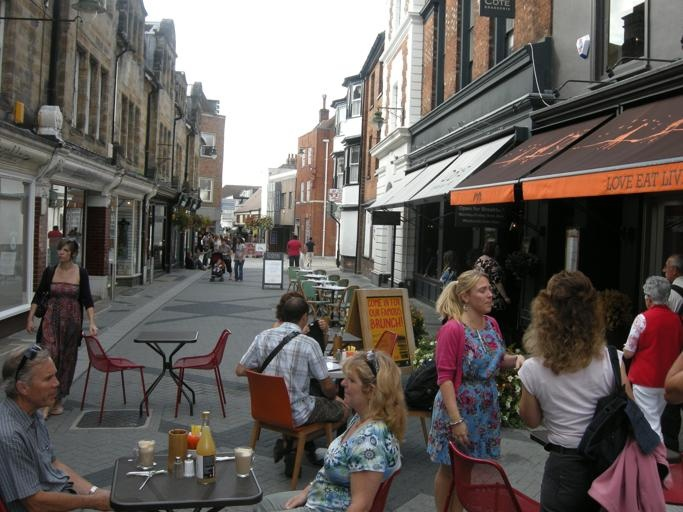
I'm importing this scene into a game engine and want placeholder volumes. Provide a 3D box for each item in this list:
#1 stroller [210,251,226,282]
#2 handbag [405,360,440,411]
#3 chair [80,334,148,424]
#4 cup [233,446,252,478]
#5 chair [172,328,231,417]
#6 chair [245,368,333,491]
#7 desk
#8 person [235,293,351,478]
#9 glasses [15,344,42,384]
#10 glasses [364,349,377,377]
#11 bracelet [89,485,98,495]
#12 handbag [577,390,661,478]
[{"bbox_3d":[-5.886,0.476,28.853,0.585,1.360,0.839,0,1,-12],"label":"stroller"},{"bbox_3d":[0.952,1.480,6.908,0.490,0.557,0.386,8,-12,-12],"label":"handbag"},{"bbox_3d":[-3.227,1.646,8.632,0.718,1.164,0.720,-4,6,-41],"label":"chair"},{"bbox_3d":[-0.804,1.606,4.838,0.143,0.201,0.187,0,-8,5],"label":"cup"},{"bbox_3d":[-2.063,1.677,8.938,0.762,1.251,0.772,3,1,-19],"label":"chair"},{"bbox_3d":[-0.602,1.743,6.722,0.823,1.133,0.855,-8,15,-26],"label":"chair"},{"bbox_3d":[-2.606,1.780,9.176,1.122,1.579,1.208,0,-2,-7],"label":"desk"},{"bbox_3d":[-0.533,1.417,6.757,1.140,2.056,0.844,4,2,-29],"label":"person"},{"bbox_3d":[-2.268,0.764,4.411,0.059,0.212,0.177,24,15,2],"label":"glasses"},{"bbox_3d":[0.218,0.767,4.460,0.048,0.145,0.103,-11,18,-11],"label":"glasses"},{"bbox_3d":[-1.911,1.787,4.731,0.042,0.023,0.060,3,45,1],"label":"bracelet"},{"bbox_3d":[1.940,1.186,4.322,0.451,0.543,0.366,-30,12,21],"label":"handbag"}]
